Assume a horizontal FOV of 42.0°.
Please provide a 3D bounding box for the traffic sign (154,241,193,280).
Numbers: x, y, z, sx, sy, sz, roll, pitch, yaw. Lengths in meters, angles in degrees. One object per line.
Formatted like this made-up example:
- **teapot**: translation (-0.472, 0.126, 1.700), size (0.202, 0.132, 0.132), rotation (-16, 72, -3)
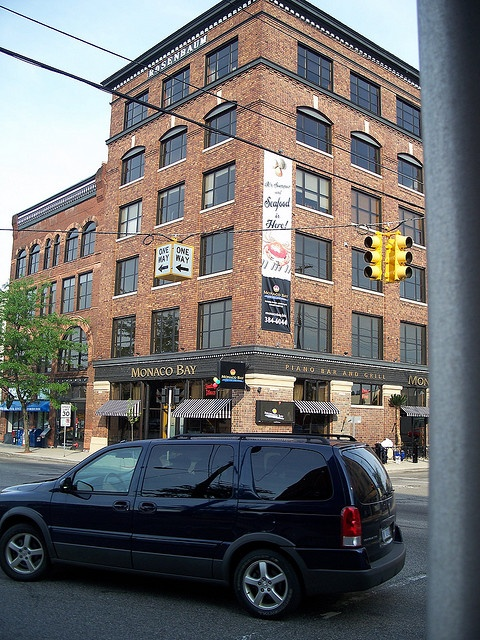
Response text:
- **traffic sign**: translation (-2.924, -2.453, 26.312), size (1.640, 1.589, 1.635), rotation (2, 2, 44)

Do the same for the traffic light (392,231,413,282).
- **traffic light**: translation (3.535, -1.423, 13.454), size (0.383, 1.242, 1.047), rotation (-2, -9, 13)

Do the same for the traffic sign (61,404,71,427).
- **traffic sign**: translation (-8.497, 4.623, 30.555), size (0.413, 1.005, 0.895), rotation (4, -10, -18)
